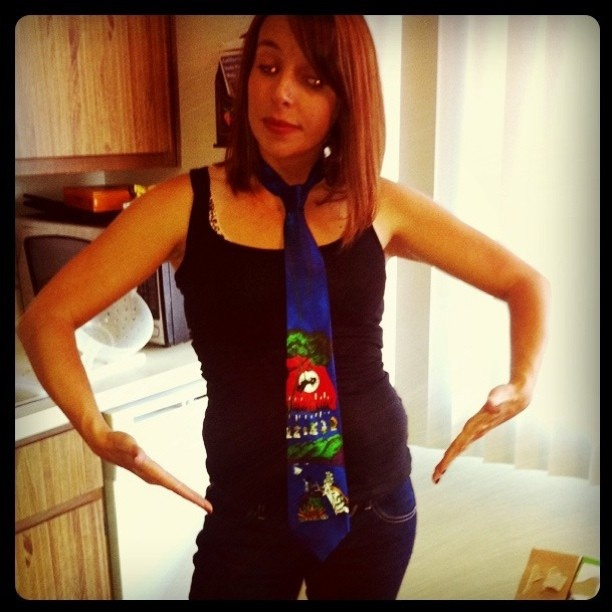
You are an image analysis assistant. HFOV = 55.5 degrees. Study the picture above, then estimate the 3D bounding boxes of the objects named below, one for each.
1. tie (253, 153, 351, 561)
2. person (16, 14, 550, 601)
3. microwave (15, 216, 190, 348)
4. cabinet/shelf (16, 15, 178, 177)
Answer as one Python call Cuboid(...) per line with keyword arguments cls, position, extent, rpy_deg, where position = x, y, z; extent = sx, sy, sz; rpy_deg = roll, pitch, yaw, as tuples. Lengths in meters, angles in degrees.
Cuboid(cls="tie", position=(0.001, 0.087, 1.001), extent=(0.103, 0.605, 0.248), rpy_deg=(-5, 24, -6))
Cuboid(cls="person", position=(-0.003, 0.042, 1.006), extent=(0.939, 0.981, 0.336), rpy_deg=(-8, 24, -11))
Cuboid(cls="microwave", position=(-0.466, -0.077, 1.416), extent=(0.388, 0.371, 0.265), rpy_deg=(0, 9, -2))
Cuboid(cls="cabinet/shelf", position=(-0.458, -0.467, 1.259), extent=(0.290, 0.322, 0.113), rpy_deg=(-9, 17, -33))
